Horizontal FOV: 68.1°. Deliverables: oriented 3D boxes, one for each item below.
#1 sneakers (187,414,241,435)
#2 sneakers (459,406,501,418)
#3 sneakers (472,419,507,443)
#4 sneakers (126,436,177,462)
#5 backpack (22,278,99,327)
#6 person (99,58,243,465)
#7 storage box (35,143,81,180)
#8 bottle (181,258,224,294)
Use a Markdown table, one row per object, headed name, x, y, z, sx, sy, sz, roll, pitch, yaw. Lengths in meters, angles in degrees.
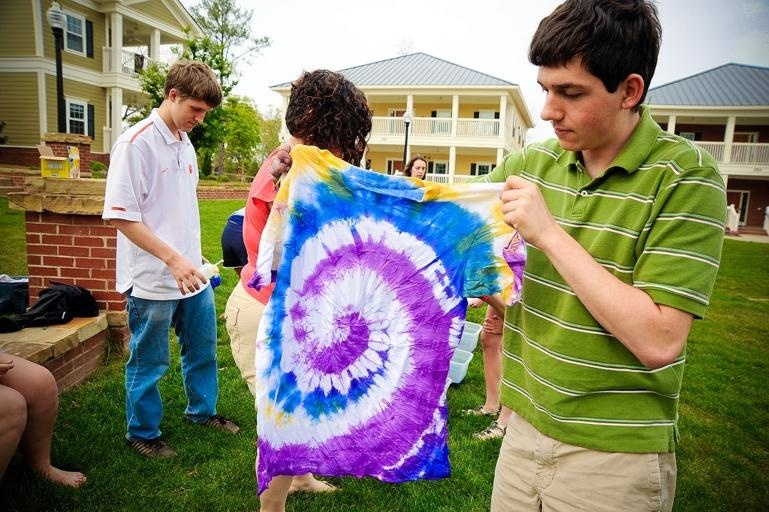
| name | x | y | z | sx | sy | sz | roll | pitch | yaw |
| --- | --- | --- | --- | --- | --- | --- | --- | --- | --- |
| sneakers | -1.689 | 1.658 | 5.762 | 0.530 | 0.202 | 0.190 | 7 | 2 | 0 |
| sneakers | 1.044 | 1.666 | 6.174 | 0.387 | 0.122 | 0.140 | 3 | -11 | 1 |
| sneakers | 0.978 | 1.770 | 5.808 | 0.547 | 0.231 | 0.215 | -2 | -12 | -3 |
| sneakers | -2.153 | 1.762 | 5.318 | 0.466 | 0.193 | 0.175 | 5 | -2 | 23 |
| backpack | -3.485 | 0.557 | 6.096 | 0.712 | 0.358 | 0.520 | -18 | 20 | -33 |
| person | -1.986 | 0.004 | 5.296 | 1.106 | 3.629 | 0.926 | 0 | 8 | -26 |
| storage box | -6.682 | -1.921 | 11.728 | 0.761 | 0.579 | 0.807 | 8 | 6 | 4 |
| bottle | -1.653 | 0.195 | 5.287 | 0.361 | 0.222 | 0.143 | -40 | -17 | 18 |
